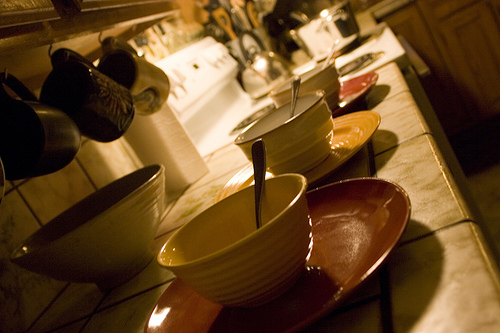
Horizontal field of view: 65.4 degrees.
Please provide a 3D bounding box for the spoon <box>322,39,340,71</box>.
[{"bbox_3d":[0.224,-0.312,1.072,0.020,0.031,0.177,111,179,-47],"label":"spoon"}]

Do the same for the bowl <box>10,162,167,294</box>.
[{"bbox_3d":[-0.263,0.118,0.778,0.253,0.112,0.266,-38,7,5],"label":"bowl"}]

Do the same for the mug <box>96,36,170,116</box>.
[{"bbox_3d":[-0.289,-0.230,1.020,0.118,0.206,0.188,5,22,18],"label":"mug"}]

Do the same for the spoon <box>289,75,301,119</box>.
[{"bbox_3d":[0.095,-0.159,0.829,0.020,0.017,0.120,-3,64,17],"label":"spoon"}]

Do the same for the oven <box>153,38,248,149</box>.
[{"bbox_3d":[-0.168,-0.381,1.840,0.256,0.352,0.938,-13,21,19],"label":"oven"}]

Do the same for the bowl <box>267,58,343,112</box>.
[{"bbox_3d":[0.140,-0.209,1.016,0.185,0.085,0.186,-36,7,5],"label":"bowl"}]

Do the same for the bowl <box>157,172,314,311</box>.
[{"bbox_3d":[-0.001,0.122,0.572,0.235,0.120,0.233,-27,10,5],"label":"bowl"}]

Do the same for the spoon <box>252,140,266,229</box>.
[{"bbox_3d":[0.012,0.026,0.580,0.019,0.129,0.017,-6,-17,19],"label":"spoon"}]
